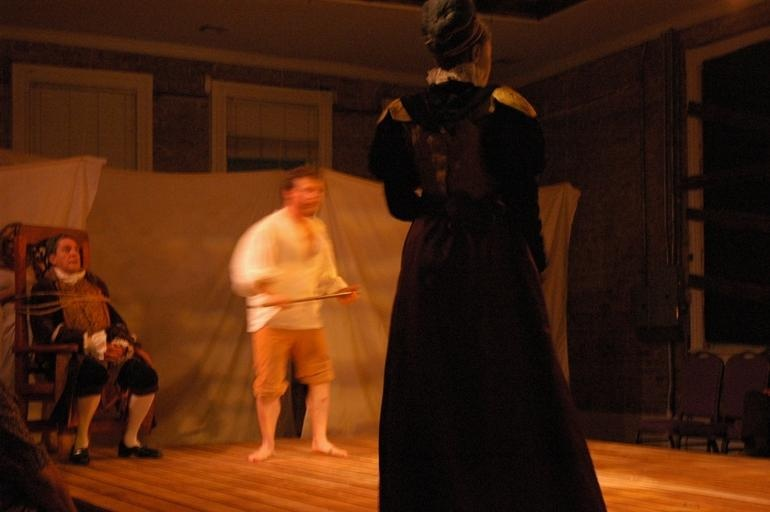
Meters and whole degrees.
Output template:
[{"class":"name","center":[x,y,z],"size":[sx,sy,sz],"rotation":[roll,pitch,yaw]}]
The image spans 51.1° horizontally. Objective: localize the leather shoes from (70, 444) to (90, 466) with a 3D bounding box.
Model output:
[{"class":"leather shoes","center":[-2.443,1.561,6.315],"size":[0.111,0.084,0.303],"rotation":[3,-10,-27]}]

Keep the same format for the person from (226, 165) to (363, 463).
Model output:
[{"class":"person","center":[-0.813,0.440,6.541],"size":[0.917,2.349,0.290],"rotation":[0,2,-20]}]

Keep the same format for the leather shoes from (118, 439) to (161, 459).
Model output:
[{"class":"leather shoes","center":[-2.046,1.563,6.566],"size":[0.371,0.153,0.137],"rotation":[0,-3,-7]}]

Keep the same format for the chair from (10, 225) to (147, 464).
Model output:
[{"class":"chair","center":[-2.475,0.689,6.478],"size":[0.949,1.877,0.702],"rotation":[1,2,28]}]
